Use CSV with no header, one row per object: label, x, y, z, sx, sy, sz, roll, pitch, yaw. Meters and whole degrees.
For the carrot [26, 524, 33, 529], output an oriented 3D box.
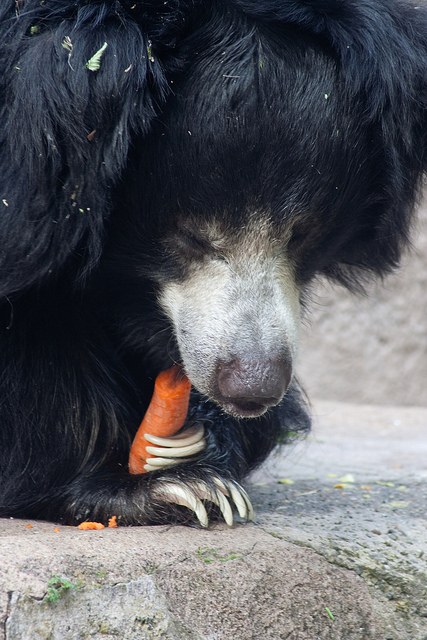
carrot,-0.529,0.589,2.279,0.013,0.003,0.013,0,16,-19
